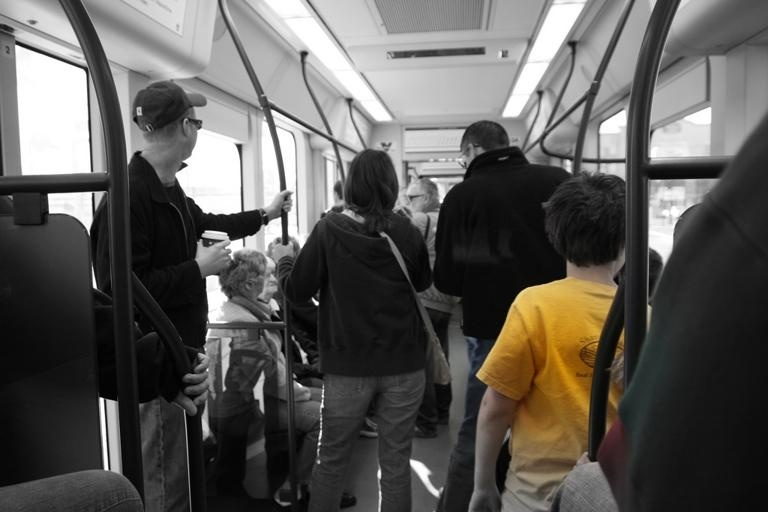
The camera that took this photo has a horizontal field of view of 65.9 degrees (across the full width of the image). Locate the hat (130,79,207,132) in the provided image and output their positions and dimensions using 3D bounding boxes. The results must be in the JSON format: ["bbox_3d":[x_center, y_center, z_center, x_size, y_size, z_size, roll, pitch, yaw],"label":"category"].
[{"bbox_3d":[-0.949,-0.670,2.662,0.193,0.157,0.310,22,49,29],"label":"hat"}]
